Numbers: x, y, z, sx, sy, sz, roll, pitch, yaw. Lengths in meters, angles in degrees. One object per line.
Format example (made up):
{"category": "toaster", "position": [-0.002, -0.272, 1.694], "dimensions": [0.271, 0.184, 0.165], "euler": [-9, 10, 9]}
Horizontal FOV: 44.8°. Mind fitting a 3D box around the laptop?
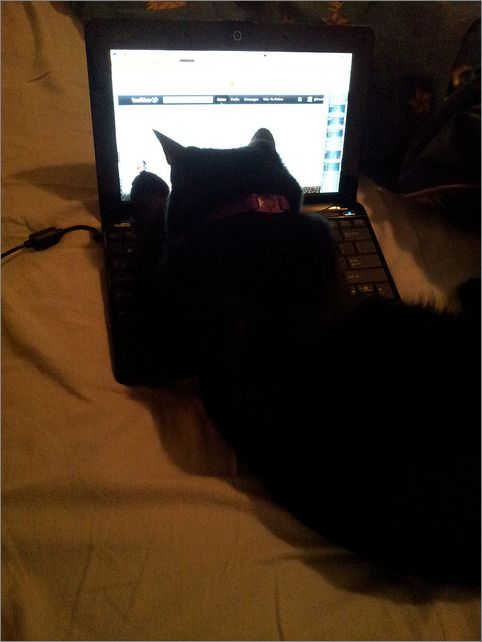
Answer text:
{"category": "laptop", "position": [-0.027, -0.169, 0.941], "dimensions": [0.506, 0.366, 0.455], "euler": [-2, 52, -10]}
